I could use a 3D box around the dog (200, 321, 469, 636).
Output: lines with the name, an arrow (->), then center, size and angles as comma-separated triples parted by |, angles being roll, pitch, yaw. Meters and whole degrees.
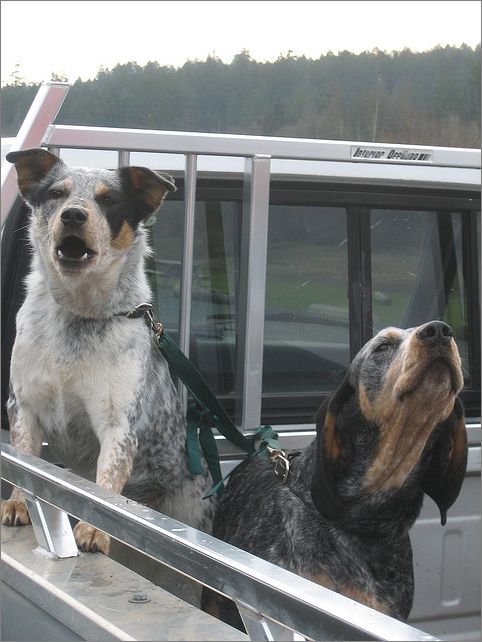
dog -> 0.191, 0.300, 1.327 | 0.310, 0.607, 0.589 | -11, 8, -42
